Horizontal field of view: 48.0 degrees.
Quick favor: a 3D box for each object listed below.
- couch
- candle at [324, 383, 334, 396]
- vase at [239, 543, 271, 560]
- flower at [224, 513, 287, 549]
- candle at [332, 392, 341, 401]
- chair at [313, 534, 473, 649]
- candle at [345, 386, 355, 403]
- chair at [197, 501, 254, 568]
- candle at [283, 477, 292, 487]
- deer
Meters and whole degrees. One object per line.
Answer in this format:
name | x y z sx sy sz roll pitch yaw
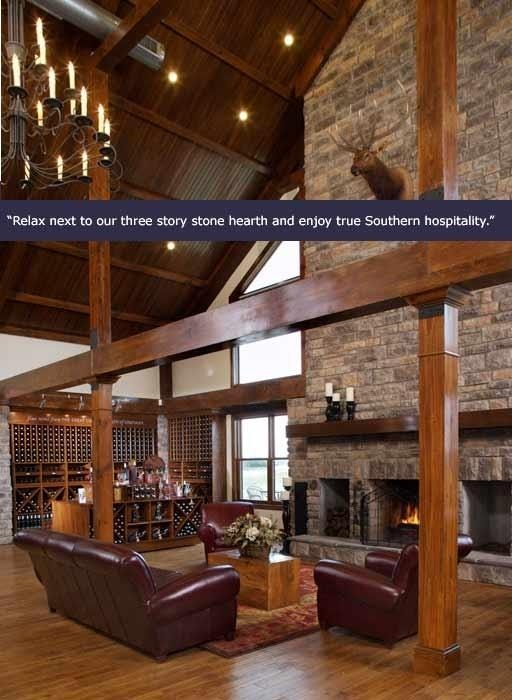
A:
couch | -0.995 1.822 4.456 0.965 0.788 1.601 8 -15 -42
candle | 0.998 0.546 7.756 0.140 0.240 0.150 -2 -4 27
vase | -0.010 1.901 5.503 0.231 0.102 0.177 -3 -9 26
flower | -0.021 1.759 5.604 0.411 0.274 0.418 2 -4 -1
candle | 1.083 0.636 7.661 0.102 0.110 0.098 1 -2 -2
chair | 0.980 1.644 4.432 0.926 0.875 1.011 6 -9 -42
candle | 1.243 0.593 7.481 0.151 0.257 0.161 -2 -4 24
chair | -0.473 2.411 7.655 0.894 1.048 0.885 1 -18 -2
candle | 0.460 1.893 8.223 0.122 0.120 0.116 -2 -5 20
deer | 1.559 -2.191 7.019 1.090 1.545 0.835 -3 -2 -39
